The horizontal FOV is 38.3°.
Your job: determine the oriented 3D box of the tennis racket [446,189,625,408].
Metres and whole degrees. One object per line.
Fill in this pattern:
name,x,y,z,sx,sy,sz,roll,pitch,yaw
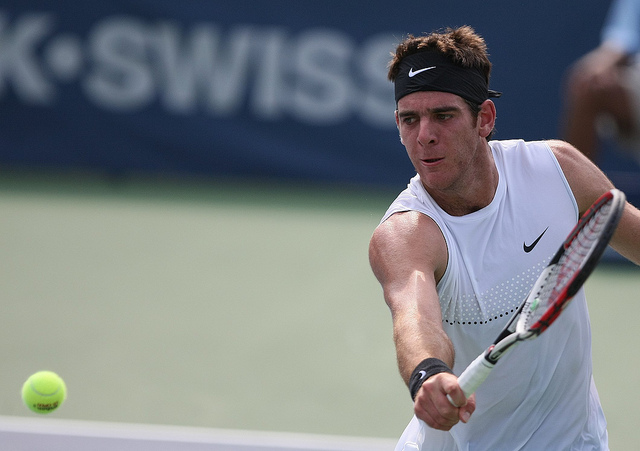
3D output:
tennis racket,1.068,0.244,4.129,0.067,0.519,1.316,26,-69,-18

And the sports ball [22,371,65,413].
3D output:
sports ball,-1.736,1.041,5.774,0.257,0.253,0.129,7,-15,-19

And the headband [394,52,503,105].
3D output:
headband,0.634,-0.755,4.733,0.357,0.157,0.272,6,-5,-20
